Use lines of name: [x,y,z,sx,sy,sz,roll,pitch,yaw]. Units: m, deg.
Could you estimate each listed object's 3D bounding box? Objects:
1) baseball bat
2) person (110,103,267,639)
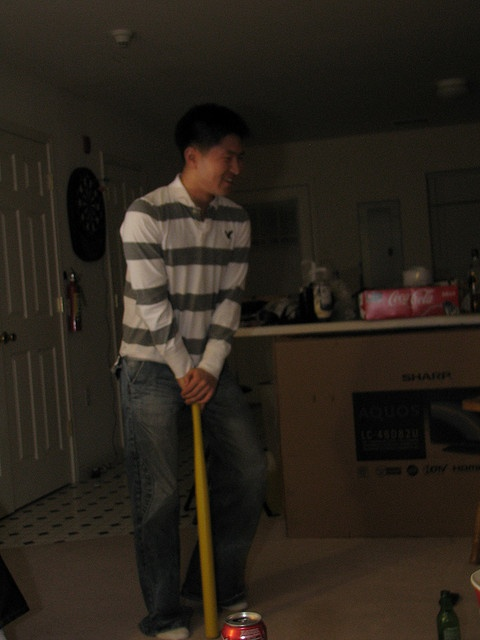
baseball bat: [-0.085,0.519,1.553,0.055,0.607,0.055,-3,2,-31]
person: [-0.128,0.129,1.664,0.428,1.044,0.354,-4,-2,-13]
